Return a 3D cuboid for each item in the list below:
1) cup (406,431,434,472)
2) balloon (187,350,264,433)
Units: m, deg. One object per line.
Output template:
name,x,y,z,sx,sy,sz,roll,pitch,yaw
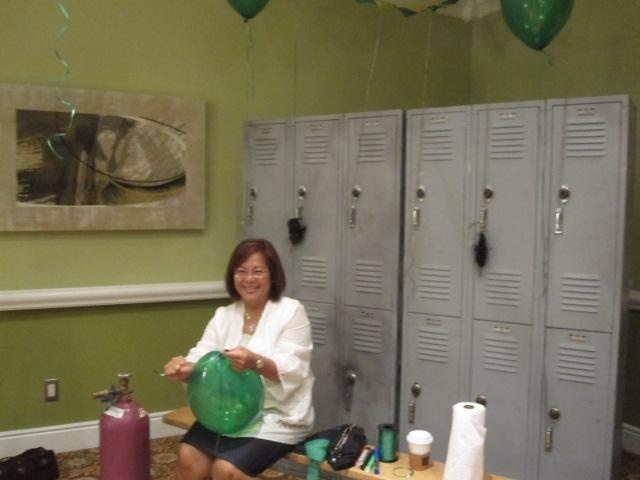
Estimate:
cup,0.477,1.029,2.831,0.158,0.171,0.161,1,-5,0
balloon,-0.427,0.724,2.962,0.362,0.464,0.375,2,9,12
